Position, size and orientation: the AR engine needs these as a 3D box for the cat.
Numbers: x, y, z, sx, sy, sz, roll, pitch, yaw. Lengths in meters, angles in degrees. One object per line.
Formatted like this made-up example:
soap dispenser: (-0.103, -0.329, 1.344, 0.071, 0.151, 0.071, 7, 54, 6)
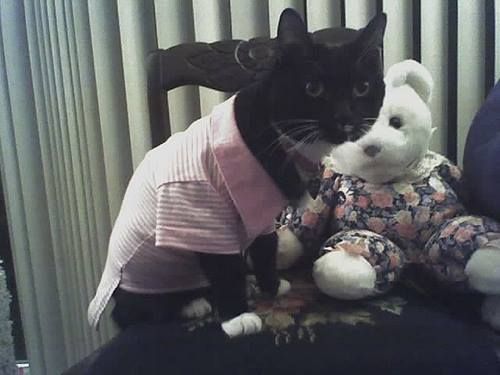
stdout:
cat: (0.026, -0.037, 1.466, 0.614, 0.795, 0.486, 2, 6, 11)
